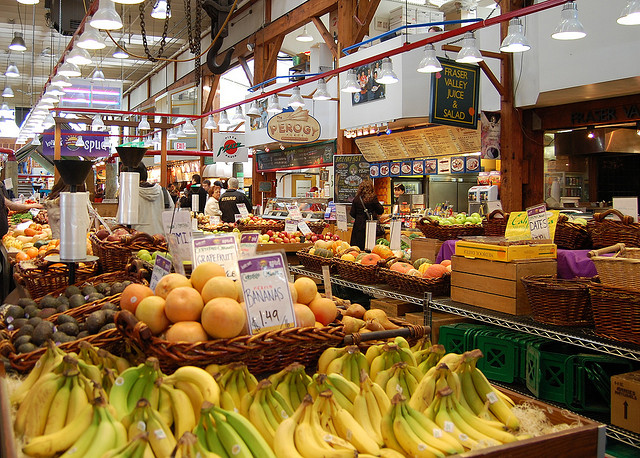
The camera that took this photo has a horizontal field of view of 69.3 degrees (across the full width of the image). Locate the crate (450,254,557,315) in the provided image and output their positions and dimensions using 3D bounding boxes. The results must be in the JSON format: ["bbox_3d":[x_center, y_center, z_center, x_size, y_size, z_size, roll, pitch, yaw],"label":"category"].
[{"bbox_3d":[1.235,0.309,3.267,0.456,0.297,0.453,4,2,42],"label":"crate"}]

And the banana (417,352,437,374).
[{"bbox_3d":[0.435,0.528,1.870,0.052,0.120,0.038,8,-17,45],"label":"banana"}]

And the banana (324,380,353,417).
[{"bbox_3d":[0.061,0.575,1.566,0.025,0.122,0.043,-18,-27,-38],"label":"banana"}]

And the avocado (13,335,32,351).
[{"bbox_3d":[-1.277,0.489,1.988,0.053,0.031,0.055,-2,12,6],"label":"avocado"}]

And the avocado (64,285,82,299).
[{"bbox_3d":[-1.329,0.331,2.499,0.059,0.075,0.061,0,16,0],"label":"avocado"}]

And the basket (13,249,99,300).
[{"bbox_3d":[-1.770,0.339,3.211,0.472,0.240,0.360,-6,-20,-11],"label":"basket"}]

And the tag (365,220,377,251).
[{"bbox_3d":[0.552,0.050,4.981,0.099,0.285,0.220,-1,4,4],"label":"tag"}]

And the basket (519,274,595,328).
[{"bbox_3d":[1.575,0.482,3.016,0.481,0.261,0.535,10,-12,1],"label":"basket"}]

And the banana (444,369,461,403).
[{"bbox_3d":[0.459,0.545,1.603,0.031,0.122,0.041,-15,5,37],"label":"banana"}]

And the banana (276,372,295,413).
[{"bbox_3d":[-0.120,0.553,1.624,0.051,0.157,0.036,-13,-7,7],"label":"banana"}]

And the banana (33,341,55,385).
[{"bbox_3d":[-0.999,0.488,1.724,0.037,0.163,0.054,26,-28,-25],"label":"banana"}]

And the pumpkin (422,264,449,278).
[{"bbox_3d":[0.888,0.312,3.590,0.112,0.112,0.115,-10,9,-27],"label":"pumpkin"}]

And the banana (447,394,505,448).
[{"bbox_3d":[0.519,0.642,1.540,0.036,0.074,0.207,2,33,-48],"label":"banana"}]

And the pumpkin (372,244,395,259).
[{"bbox_3d":[0.575,0.182,4.171,0.122,0.116,0.126,25,14,-39],"label":"pumpkin"}]

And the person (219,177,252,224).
[{"bbox_3d":[-1.661,-0.593,8.972,0.579,0.839,1.244,-2,5,-11],"label":"person"}]

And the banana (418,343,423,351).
[{"bbox_3d":[0.435,0.507,1.993,0.009,0.026,0.006,27,-9,-30],"label":"banana"}]

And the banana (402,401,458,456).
[{"bbox_3d":[0.345,0.629,1.447,0.186,0.038,0.066,33,34,28],"label":"banana"}]

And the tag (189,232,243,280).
[{"bbox_3d":[-0.505,0.135,2.246,0.213,0.210,0.310,-3,5,-18],"label":"tag"}]

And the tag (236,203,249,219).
[{"bbox_3d":[-1.433,-0.336,8.502,0.156,0.417,0.015,-22,-44,7],"label":"tag"}]

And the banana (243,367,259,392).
[{"bbox_3d":[-0.255,0.526,1.672,0.030,0.102,0.066,-4,-42,-18],"label":"banana"}]

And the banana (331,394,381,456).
[{"bbox_3d":[0.106,0.621,1.518,0.055,0.084,0.234,-28,39,-6],"label":"banana"}]

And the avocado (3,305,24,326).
[{"bbox_3d":[-1.477,0.414,2.236,0.073,0.079,0.097,0,-22,2],"label":"avocado"}]

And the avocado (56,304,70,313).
[{"bbox_3d":[-1.292,0.397,2.316,0.032,0.024,0.041,-6,0,-14],"label":"avocado"}]

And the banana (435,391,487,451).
[{"bbox_3d":[0.459,0.631,1.512,0.056,0.149,0.026,-36,-8,-43],"label":"banana"}]

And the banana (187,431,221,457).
[{"bbox_3d":[-0.328,0.611,1.312,0.029,0.097,0.063,-5,-35,-45],"label":"banana"}]

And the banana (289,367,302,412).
[{"bbox_3d":[-0.074,0.561,1.659,0.029,0.166,0.054,10,-15,-34],"label":"banana"}]

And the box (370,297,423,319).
[{"bbox_3d":[0.657,0.661,3.993,0.435,0.114,0.263,-1,5,10],"label":"box"}]

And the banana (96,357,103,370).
[{"bbox_3d":[-0.818,0.501,1.732,0.023,0.038,0.011,13,-20,2],"label":"banana"}]

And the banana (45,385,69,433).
[{"bbox_3d":[-0.841,0.588,1.484,0.042,0.166,0.052,3,-11,0],"label":"banana"}]

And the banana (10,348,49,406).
[{"bbox_3d":[-1.071,0.548,1.708,0.065,0.195,0.034,45,-19,-31],"label":"banana"}]

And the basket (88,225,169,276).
[{"bbox_3d":[-1.423,0.143,3.344,0.417,0.216,0.340,2,-2,-31],"label":"basket"}]

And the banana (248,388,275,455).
[{"bbox_3d":[-0.184,0.611,1.501,0.066,0.195,0.050,-27,-11,22],"label":"banana"}]

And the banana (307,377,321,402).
[{"bbox_3d":[-0.013,0.549,1.609,0.032,0.103,0.065,7,-17,-10],"label":"banana"}]

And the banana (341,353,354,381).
[{"bbox_3d":[0.103,0.526,1.755,0.025,0.125,0.042,-1,-17,38],"label":"banana"}]

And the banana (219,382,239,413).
[{"bbox_3d":[-0.309,0.572,1.543,0.030,0.122,0.043,-21,-10,-14],"label":"banana"}]

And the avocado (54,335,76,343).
[{"bbox_3d":[-1.114,0.478,2.024,0.052,0.026,0.043,1,5,-20],"label":"avocado"}]

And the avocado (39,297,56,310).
[{"bbox_3d":[-1.386,0.372,2.348,0.051,0.058,0.071,-8,1,-7],"label":"avocado"}]

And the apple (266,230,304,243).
[{"bbox_3d":[-0.413,0.101,5.864,0.462,0.117,0.328,-3,5,-19],"label":"apple"}]

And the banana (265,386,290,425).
[{"bbox_3d":[-0.141,0.583,1.525,0.032,0.105,0.068,-21,-28,-33],"label":"banana"}]

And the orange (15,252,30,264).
[{"bbox_3d":[-2.458,0.219,3.849,0.112,0.117,0.115,-3,7,-26],"label":"orange"}]

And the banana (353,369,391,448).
[{"bbox_3d":[0.170,0.610,1.596,0.107,0.232,0.090,-12,-27,-12],"label":"banana"}]

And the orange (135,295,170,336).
[{"bbox_3d":[-0.651,0.333,1.814,0.127,0.163,0.135,0,44,-7],"label":"orange"}]

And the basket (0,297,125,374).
[{"bbox_3d":[-1.072,0.481,1.932,0.422,0.106,0.314,-12,5,-33],"label":"basket"}]

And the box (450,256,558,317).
[{"bbox_3d":[1.231,0.358,3.298,0.460,0.298,0.465,3,1,45],"label":"box"}]

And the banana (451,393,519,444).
[{"bbox_3d":[0.589,0.627,1.538,0.383,0.141,0.064,-17,-29,40],"label":"banana"}]
